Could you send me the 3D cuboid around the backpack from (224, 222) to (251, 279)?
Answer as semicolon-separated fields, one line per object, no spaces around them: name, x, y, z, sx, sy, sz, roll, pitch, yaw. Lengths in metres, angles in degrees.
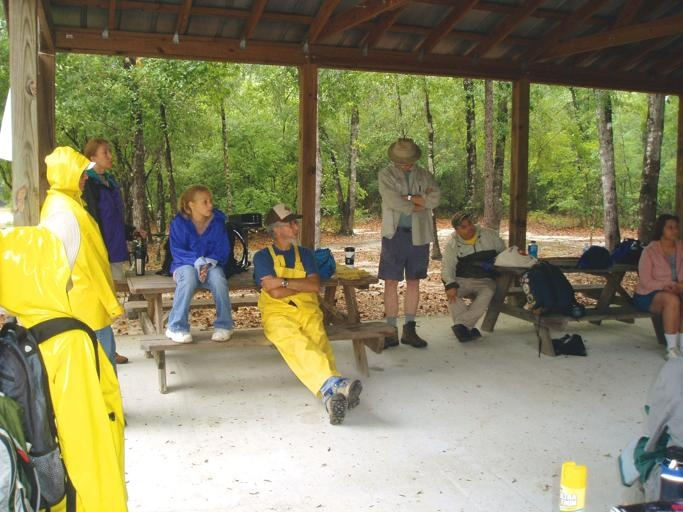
backpack;-1.099;-0.063;6.427;0.367;0.477;0.220;-1;-1;32

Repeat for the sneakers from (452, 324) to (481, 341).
sneakers;1.430;0.871;7.088;0.321;0.193;0.228;1;11;5

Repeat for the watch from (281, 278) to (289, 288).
watch;-0.487;0.239;5.391;0.061;0.081;0.078;0;5;-27

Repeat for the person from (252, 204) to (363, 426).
person;-0.326;0.428;5.272;0.564;1.667;1.254;-4;12;-22

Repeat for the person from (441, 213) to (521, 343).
person;1.497;0.214;7.240;0.585;1.426;0.839;7;13;32

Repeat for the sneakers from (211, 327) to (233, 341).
sneakers;-1.055;0.690;5.526;0.191;0.101;0.203;-2;11;-12

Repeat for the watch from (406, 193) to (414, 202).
watch;0.739;-0.627;6.603;0.057;0.072;0.024;1;-17;22

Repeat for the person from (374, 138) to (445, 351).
person;0.726;-0.041;6.823;0.631;2.070;0.479;1;11;7

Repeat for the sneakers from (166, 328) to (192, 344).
sneakers;-1.411;0.698;5.418;0.215;0.071;0.105;5;6;28

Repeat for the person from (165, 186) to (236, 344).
person;-1.317;0.028;5.737;0.571;1.323;0.911;-2;11;-10

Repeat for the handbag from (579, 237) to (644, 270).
handbag;3.244;0.004;7.495;0.694;0.192;0.448;-6;2;-15

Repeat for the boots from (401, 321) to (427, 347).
boots;0.870;0.895;6.878;0.373;0.271;0.172;3;3;43

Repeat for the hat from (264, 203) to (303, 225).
hat;-0.506;-0.368;5.498;0.312;0.155;0.191;-6;12;1

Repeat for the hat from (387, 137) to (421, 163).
hat;0.676;-1.157;6.708;0.298;0.298;0.115;1;-29;3

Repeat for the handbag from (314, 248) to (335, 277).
handbag;-0.162;0.068;6.309;0.237;0.265;0.120;-4;11;-6

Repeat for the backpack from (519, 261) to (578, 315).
backpack;2.233;0.388;6.737;0.491;0.580;0.220;-8;-9;-20
